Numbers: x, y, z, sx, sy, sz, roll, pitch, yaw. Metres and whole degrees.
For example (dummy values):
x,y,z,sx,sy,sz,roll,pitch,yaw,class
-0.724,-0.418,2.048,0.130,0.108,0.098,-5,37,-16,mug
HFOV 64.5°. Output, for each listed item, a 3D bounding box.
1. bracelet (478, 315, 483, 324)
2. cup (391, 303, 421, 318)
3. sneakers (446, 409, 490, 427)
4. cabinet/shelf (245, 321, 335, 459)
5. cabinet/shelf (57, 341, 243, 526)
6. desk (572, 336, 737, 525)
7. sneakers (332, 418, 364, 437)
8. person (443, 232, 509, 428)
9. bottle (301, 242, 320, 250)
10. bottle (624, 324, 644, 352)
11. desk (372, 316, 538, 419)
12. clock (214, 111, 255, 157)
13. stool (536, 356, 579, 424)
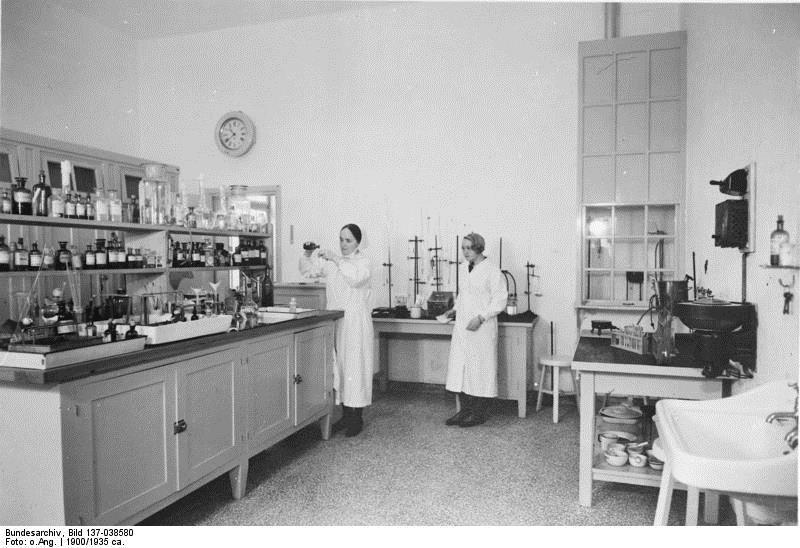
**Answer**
x,y,z,sx,sy,sz,roll,pitch,yaw,class
0.739,0.422,5.877,0.056,0.082,0.028,0,3,9,bracelet
0.069,0.389,6.667,0.230,0.103,0.138,1,8,11,cup
0.636,1.332,5.970,0.395,0.164,0.146,2,-2,-28,sneakers
-0.929,0.936,5.135,0.416,1.057,1.090,0,2,18,cabinet/shelf
-1.711,1.068,4.438,0.509,1.208,1.400,8,11,32,cabinet/shelf
1.878,0.997,4.829,1.030,1.030,1.341,1,0,17,desk
-0.493,1.375,5.745,0.283,0.134,0.262,0,3,4,sneakers
0.700,0.610,6.027,0.572,1.586,0.400,0,3,-3,person
-0.812,-0.246,5.743,0.120,0.072,0.175,2,-1,31,bottle
1.778,0.492,4.789,0.042,0.162,0.162,1,-2,-12,bottle
0.526,0.889,6.675,1.726,0.948,0.622,1,3,20,desk
-2.001,-1.700,7.673,0.515,0.552,0.072,-2,1,20,clock
1.556,1.097,6.253,0.356,0.485,0.370,3,-7,-10,stool
